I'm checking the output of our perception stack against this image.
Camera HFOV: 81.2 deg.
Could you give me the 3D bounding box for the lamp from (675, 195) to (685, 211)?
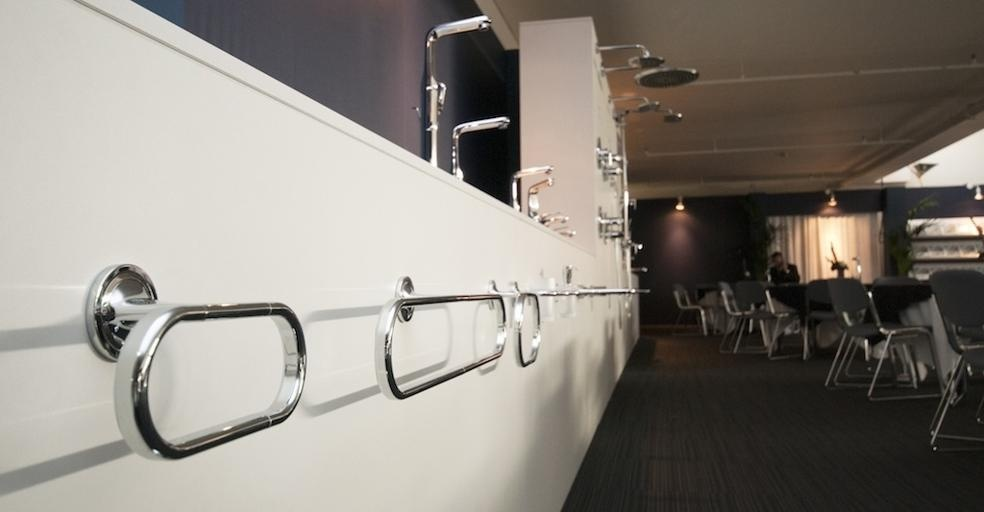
[{"bbox_3d":[4.373,-1.177,13.371,0.288,0.429,0.289,4,9,25],"label":"lamp"}]
